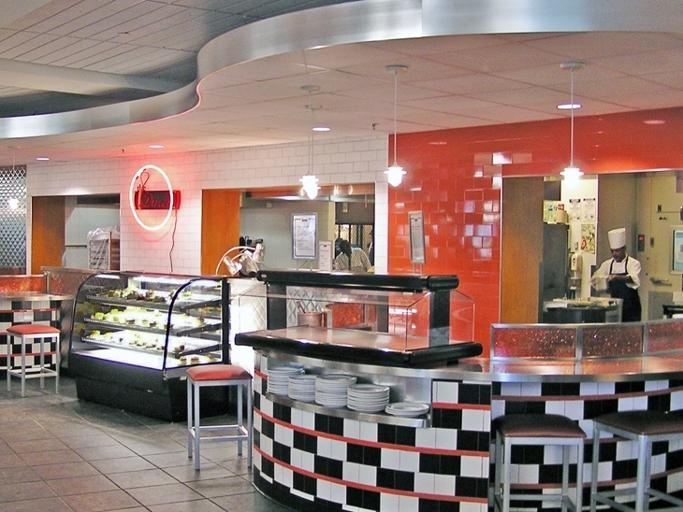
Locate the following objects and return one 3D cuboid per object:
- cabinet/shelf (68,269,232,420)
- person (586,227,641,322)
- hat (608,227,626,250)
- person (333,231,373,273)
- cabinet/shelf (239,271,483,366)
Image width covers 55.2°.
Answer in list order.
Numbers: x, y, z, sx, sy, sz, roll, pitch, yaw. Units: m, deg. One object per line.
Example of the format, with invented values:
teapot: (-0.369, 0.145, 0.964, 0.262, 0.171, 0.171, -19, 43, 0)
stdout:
cabinet/shelf: (-2.294, 1.121, 7.939, 2.229, 1.380, 0.818, 2, 1, 36)
person: (3.670, 0.271, 8.743, 0.625, 1.189, 0.798, -6, 5, 19)
hat: (3.773, -0.229, 9.095, 0.339, 0.259, 0.343, -2, -6, 24)
person: (0.180, -0.054, 10.949, 0.445, 0.686, 0.613, -28, 4, -30)
cabinet/shelf: (0.121, 0.505, 5.509, 1.709, 0.757, 0.755, -2, 6, 35)
